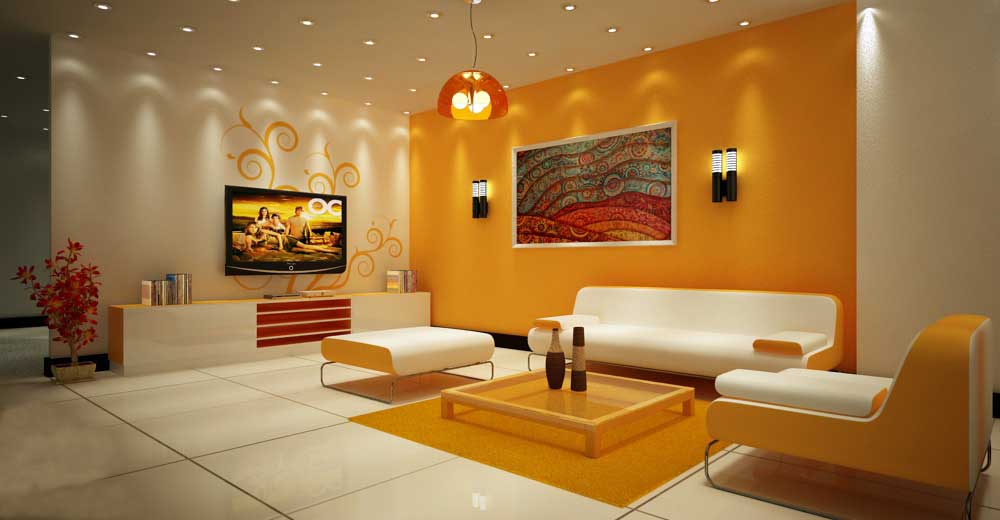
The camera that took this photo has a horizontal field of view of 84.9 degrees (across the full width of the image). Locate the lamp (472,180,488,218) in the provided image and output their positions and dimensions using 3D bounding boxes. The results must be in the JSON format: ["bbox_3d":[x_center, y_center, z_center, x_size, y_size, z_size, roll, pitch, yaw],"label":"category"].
[{"bbox_3d":[-0.354,-1.086,9.737,0.317,0.680,0.163,1,4,4],"label":"lamp"}]

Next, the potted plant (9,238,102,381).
[{"bbox_3d":[-6.803,0.627,8.516,0.840,1.908,3.008,-2,4,-38],"label":"potted plant"}]

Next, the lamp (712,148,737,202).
[{"bbox_3d":[3.200,-1.202,7.791,0.324,0.755,0.125,2,4,15],"label":"lamp"}]

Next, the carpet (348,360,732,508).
[{"bbox_3d":[0.534,1.822,6.141,3.356,0.801,1.794,1,3,19],"label":"carpet"}]

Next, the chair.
[{"bbox_3d":[3.499,1.504,5.533,2.185,1.545,2.345,-1,-3,39],"label":"chair"}]

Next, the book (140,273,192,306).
[{"bbox_3d":[-5.007,0.437,8.175,0.625,0.443,0.327,-1,4,-30],"label":"book"}]
